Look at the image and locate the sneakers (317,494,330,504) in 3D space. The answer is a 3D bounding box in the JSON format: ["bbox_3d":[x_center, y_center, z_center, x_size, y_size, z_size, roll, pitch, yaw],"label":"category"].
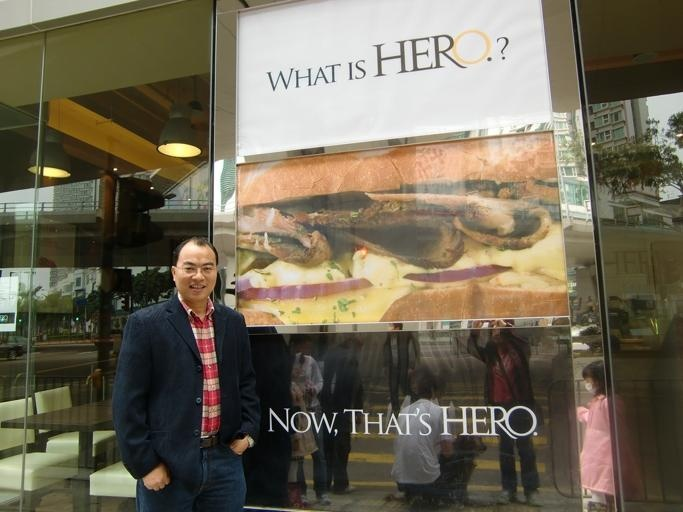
[{"bbox_3d":[-0.158,2.099,4.962,0.136,0.058,0.050,-5,-14,19],"label":"sneakers"}]

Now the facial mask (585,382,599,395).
[{"bbox_3d":[2.009,1.067,4.631,0.089,0.054,0.091,2,-27,43],"label":"facial mask"}]

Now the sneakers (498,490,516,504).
[{"bbox_3d":[1.349,1.968,4.701,0.158,0.074,0.074,6,-17,0],"label":"sneakers"}]

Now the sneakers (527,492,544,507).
[{"bbox_3d":[1.561,1.973,4.669,0.084,0.042,0.129,-2,-6,13],"label":"sneakers"}]
